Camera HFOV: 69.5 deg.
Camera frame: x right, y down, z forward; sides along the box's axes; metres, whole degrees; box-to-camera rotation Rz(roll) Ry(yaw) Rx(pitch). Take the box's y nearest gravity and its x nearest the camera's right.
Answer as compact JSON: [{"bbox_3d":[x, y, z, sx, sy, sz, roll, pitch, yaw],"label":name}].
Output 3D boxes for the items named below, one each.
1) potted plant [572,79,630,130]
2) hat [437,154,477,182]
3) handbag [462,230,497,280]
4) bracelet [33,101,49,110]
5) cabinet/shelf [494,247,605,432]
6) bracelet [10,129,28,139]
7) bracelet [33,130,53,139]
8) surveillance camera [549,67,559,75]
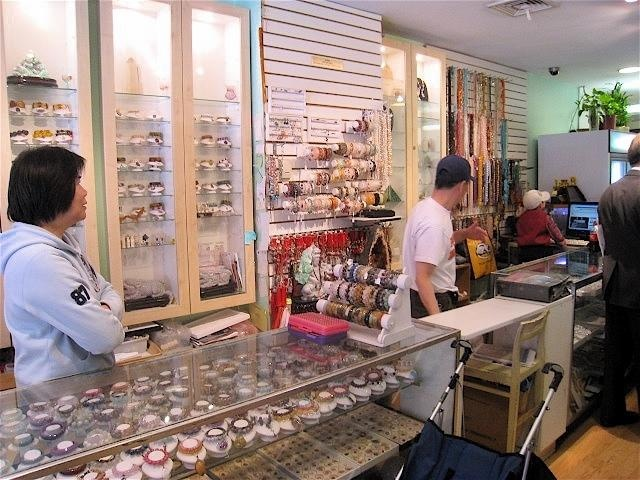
[{"bbox_3d":[4.837,-2.310,7.916,0.814,0.837,1.681,9,15,27],"label":"potted plant"},{"bbox_3d":[0.984,-0.522,3.321,0.160,0.130,0.239,13,24,39],"label":"hat"},{"bbox_3d":[1.869,0.200,5.464,0.493,0.619,0.162,-24,12,-38],"label":"handbag"},{"bbox_3d":[-1.988,-0.947,3.269,0.084,0.086,0.028,13,-37,-30],"label":"bracelet"},{"bbox_3d":[1.697,0.761,3.391,0.662,1.116,1.324,6,10,43],"label":"cabinet/shelf"},{"bbox_3d":[-2.084,-0.719,3.183,0.074,0.041,0.075,1,3,41],"label":"bracelet"},{"bbox_3d":[-1.969,-0.745,3.262,0.075,0.029,0.091,-1,4,-7],"label":"bracelet"},{"bbox_3d":[3.646,-2.626,7.190,0.117,0.064,0.149,1,-6,9],"label":"surveillance camera"}]
